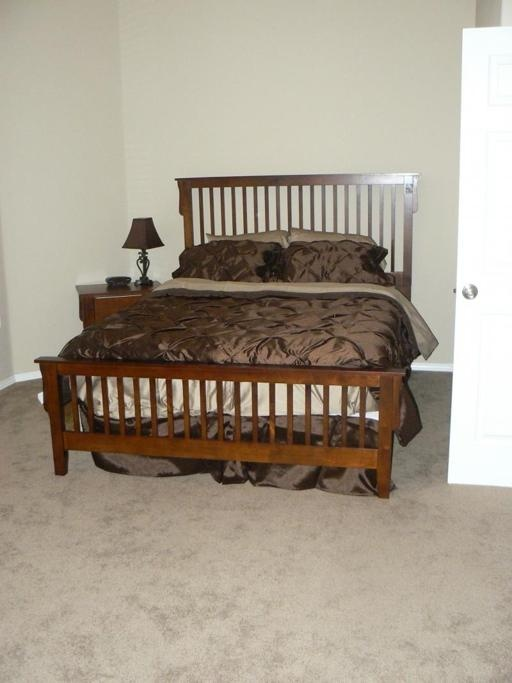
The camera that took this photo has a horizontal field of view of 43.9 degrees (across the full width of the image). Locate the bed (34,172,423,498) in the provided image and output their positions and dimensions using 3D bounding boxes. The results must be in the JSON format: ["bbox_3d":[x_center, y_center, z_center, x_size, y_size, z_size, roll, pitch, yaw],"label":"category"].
[{"bbox_3d":[0.079,0.023,3.235,1.565,1.017,1.859,-1,4,23],"label":"bed"}]
